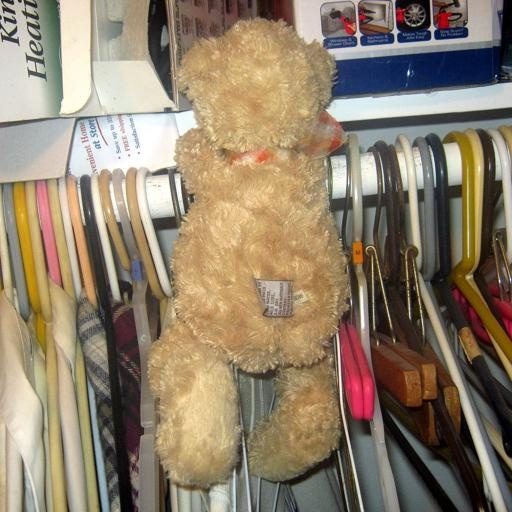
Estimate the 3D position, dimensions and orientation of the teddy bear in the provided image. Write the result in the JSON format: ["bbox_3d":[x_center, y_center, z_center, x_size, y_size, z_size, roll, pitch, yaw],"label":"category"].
[{"bbox_3d":[-0.012,-0.001,0.692,0.256,0.563,0.176,-2,12,10],"label":"teddy bear"}]
